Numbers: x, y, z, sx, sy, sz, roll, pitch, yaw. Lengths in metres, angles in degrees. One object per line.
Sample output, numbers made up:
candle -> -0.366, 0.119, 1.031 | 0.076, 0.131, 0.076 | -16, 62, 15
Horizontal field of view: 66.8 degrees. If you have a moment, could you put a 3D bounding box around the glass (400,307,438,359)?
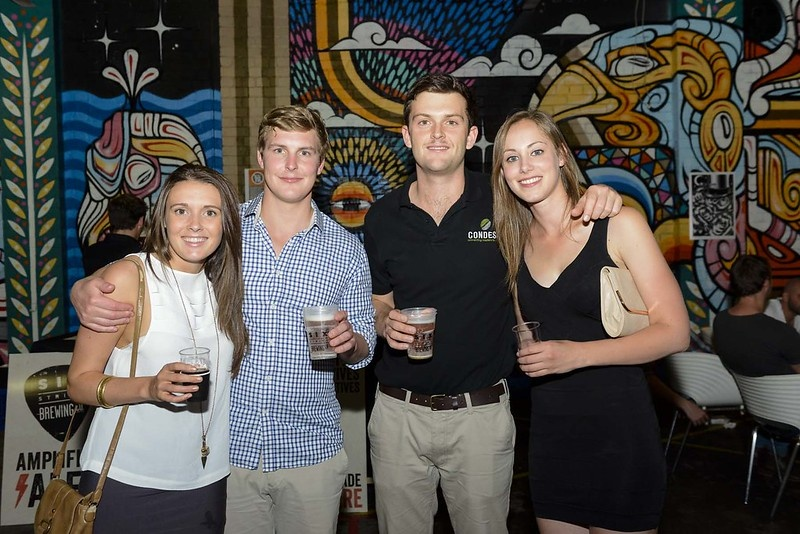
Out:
glass -> 0.117, 0.379, 3.563 | 0.264, 0.307, 0.258 | 0, -1, -1

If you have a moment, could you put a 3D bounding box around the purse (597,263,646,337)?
purse -> 1.257, 0.180, 3.409 | 0.157, 0.378, 0.392 | -20, -13, 41

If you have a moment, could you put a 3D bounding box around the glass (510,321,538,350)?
glass -> 0.714, 0.382, 3.420 | 0.144, 0.225, 0.144 | -2, -5, 1

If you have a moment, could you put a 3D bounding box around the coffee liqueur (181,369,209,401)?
coffee liqueur -> -1.020, 0.598, 3.142 | 0.144, 0.150, 0.142 | 1, 4, 18

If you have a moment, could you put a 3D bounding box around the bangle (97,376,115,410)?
bangle -> -1.524, 0.640, 3.140 | 0.073, 0.157, 0.059 | 1, 12, 14

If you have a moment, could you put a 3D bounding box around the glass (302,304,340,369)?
glass -> -0.429, 0.374, 3.373 | 0.165, 0.337, 0.126 | -11, 15, -38

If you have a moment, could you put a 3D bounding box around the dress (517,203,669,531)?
dress -> 1.157, 0.601, 3.556 | 0.950, 1.861, 0.521 | 1, 12, 11
